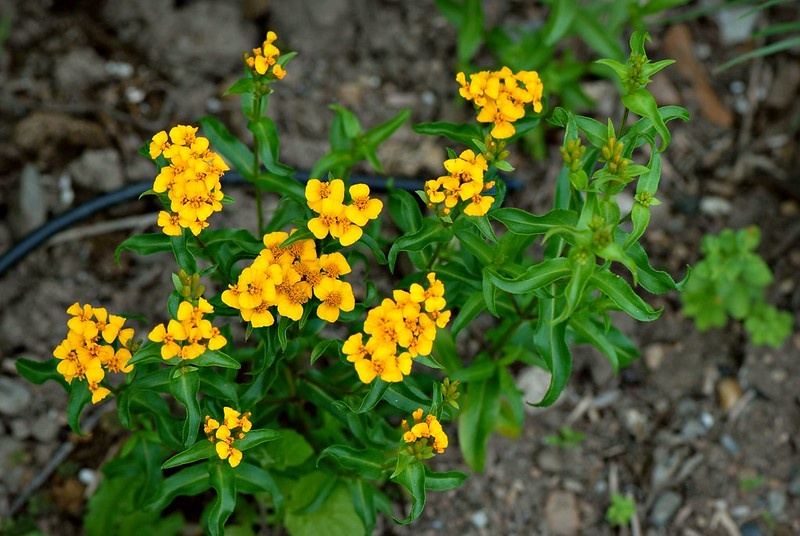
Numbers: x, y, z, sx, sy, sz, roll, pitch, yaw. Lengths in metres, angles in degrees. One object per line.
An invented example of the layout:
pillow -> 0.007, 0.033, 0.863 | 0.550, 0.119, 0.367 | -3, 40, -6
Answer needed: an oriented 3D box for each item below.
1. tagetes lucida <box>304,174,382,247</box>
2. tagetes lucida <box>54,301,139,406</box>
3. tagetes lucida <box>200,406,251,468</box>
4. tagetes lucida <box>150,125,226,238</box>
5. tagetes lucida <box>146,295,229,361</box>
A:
tagetes lucida -> -0.307, -0.274, 3.844 | 0.396, 0.359, 0.321 | 11, 85, 0
tagetes lucida -> -1.570, 0.442, 3.970 | 0.404, 0.583, 0.509 | -7, 85, -1
tagetes lucida -> -0.894, 0.835, 3.821 | 0.262, 0.257, 0.303 | 2, 61, -35
tagetes lucida -> -1.092, -0.451, 3.743 | 0.366, 0.167, 0.587 | -8, 91, -14
tagetes lucida -> -1.072, 0.326, 3.607 | 0.315, 0.150, 0.343 | -22, 92, -4
